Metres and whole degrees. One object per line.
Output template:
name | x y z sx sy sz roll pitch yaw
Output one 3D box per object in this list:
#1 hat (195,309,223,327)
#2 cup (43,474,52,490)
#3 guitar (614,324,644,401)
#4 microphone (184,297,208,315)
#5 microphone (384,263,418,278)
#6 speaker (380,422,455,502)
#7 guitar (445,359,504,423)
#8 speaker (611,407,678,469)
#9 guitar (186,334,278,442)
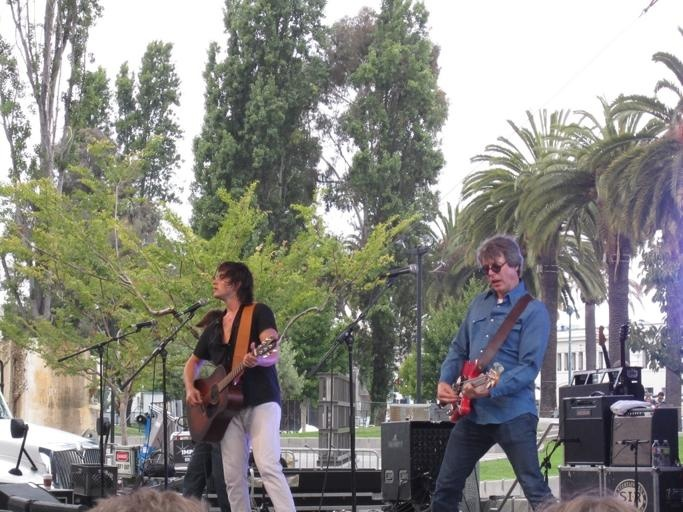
hat | -2.685 1.200 24.074 0.435 0.181 0.331 -36 15 -19
cup | -6.347 4.940 25.644 0.236 0.391 0.255 2 -7 0
guitar | 6.133 2.438 25.595 0.700 1.953 0.253 -9 -24 27
microphone | -3.086 1.033 24.660 0.650 0.225 0.223 -25 -12 5
microphone | 1.440 0.317 26.777 0.276 0.269 1.102 -4 -5 27
speaker | 1.844 4.657 26.515 1.281 1.982 1.999 -6 -10 11
guitar | 2.377 2.413 22.733 0.242 1.094 1.896 26 -6 27
speaker | 6.406 3.763 24.973 1.422 1.600 1.117 -1 -6 17
guitar | -2.001 2.638 23.409 0.336 1.238 2.558 4 -42 -39
